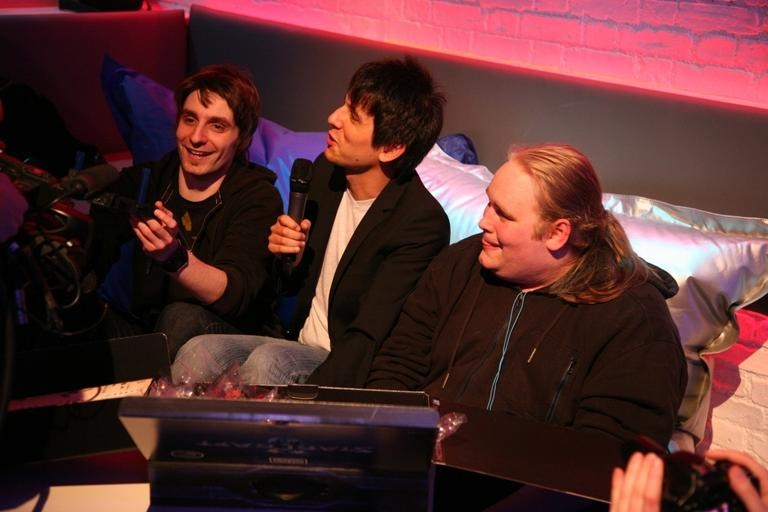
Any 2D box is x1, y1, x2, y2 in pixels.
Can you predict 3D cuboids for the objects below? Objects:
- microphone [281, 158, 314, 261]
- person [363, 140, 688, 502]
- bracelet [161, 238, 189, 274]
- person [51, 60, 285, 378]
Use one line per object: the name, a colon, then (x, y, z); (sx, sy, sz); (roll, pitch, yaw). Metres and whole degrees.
microphone: (-0.295, -0.228, 2.301); (0.071, 0.215, 0.087); (11, 18, -13)
person: (0.527, 0.128, 2.106); (0.916, 0.902, 0.438); (21, 19, 19)
bracelet: (-0.697, -0.006, 2.242); (0.052, 0.080, 0.103); (38, 19, -30)
person: (-0.866, -0.126, 2.506); (0.975, 1.169, 0.852); (7, 15, -18)
